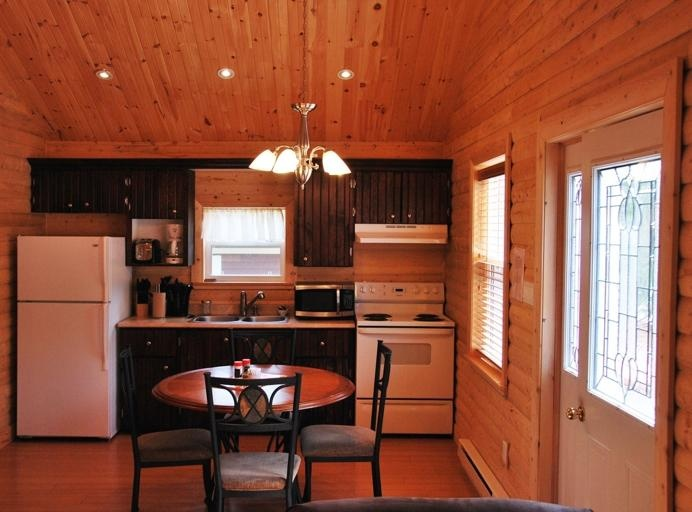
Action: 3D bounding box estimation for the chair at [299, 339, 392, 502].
[{"bbox_3d":[-0.027,1.341,4.598,0.724,1.167,0.667,0,1,-14],"label":"chair"}]

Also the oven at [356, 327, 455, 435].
[{"bbox_3d":[0.526,1.235,6.143,1.047,1.190,0.828,2,-2,-5],"label":"oven"}]

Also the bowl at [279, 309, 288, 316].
[{"bbox_3d":[-0.670,0.598,6.316,0.079,0.067,0.065,-12,-9,9],"label":"bowl"}]

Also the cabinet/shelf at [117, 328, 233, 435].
[{"bbox_3d":[-1.699,1.173,6.116,1.046,1.038,0.585,0,9,-13],"label":"cabinet/shelf"}]

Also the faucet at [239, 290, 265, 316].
[{"bbox_3d":[-1.002,0.501,6.298,0.278,0.222,0.206,-1,0,-11],"label":"faucet"}]

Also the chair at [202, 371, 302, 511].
[{"bbox_3d":[-0.644,1.282,4.183,0.623,0.809,0.845,-1,0,-8],"label":"chair"}]

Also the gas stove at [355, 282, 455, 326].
[{"bbox_3d":[0.578,0.477,6.049,0.966,0.310,0.620,-1,0,1],"label":"gas stove"}]

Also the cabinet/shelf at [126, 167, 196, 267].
[{"bbox_3d":[-1.993,-0.424,6.220,0.639,1.133,0.461,0,19,-18],"label":"cabinet/shelf"}]

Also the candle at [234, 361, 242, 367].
[{"bbox_3d":[-0.829,0.821,4.534,0.050,0.037,0.051,2,-1,-10],"label":"candle"}]

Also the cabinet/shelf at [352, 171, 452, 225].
[{"bbox_3d":[0.547,-0.591,6.299,1.025,0.652,0.551,0,-6,-7],"label":"cabinet/shelf"}]

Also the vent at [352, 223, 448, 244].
[{"bbox_3d":[0.567,-0.236,6.024,0.939,0.141,0.075,-1,0,-2],"label":"vent"}]

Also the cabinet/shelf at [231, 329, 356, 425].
[{"bbox_3d":[-0.528,1.277,6.131,1.276,1.185,0.504,-2,9,2],"label":"cabinet/shelf"}]

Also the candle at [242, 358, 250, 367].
[{"bbox_3d":[-0.778,0.827,4.630,0.061,0.059,0.063,-1,-3,16],"label":"candle"}]

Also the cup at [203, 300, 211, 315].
[{"bbox_3d":[-1.490,0.542,6.314,0.086,0.131,0.073,-1,0,-17],"label":"cup"}]

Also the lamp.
[{"bbox_3d":[-0.392,-1.072,5.492,0.997,0.787,1.002,-1,0,-43],"label":"lamp"}]
